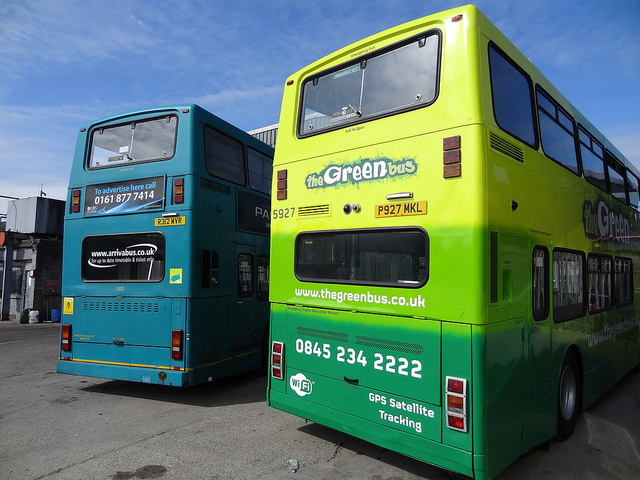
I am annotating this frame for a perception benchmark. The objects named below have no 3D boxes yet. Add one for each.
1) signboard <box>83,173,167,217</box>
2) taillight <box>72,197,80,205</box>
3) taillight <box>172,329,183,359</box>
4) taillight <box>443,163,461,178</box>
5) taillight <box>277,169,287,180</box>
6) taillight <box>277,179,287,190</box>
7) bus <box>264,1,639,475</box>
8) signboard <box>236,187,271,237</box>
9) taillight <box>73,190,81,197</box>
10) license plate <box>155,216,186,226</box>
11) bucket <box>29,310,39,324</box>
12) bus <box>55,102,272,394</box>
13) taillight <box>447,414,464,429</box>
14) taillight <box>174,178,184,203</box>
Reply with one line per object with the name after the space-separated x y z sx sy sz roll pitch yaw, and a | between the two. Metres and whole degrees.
-3.611 -0.847 8.112 1.650 0.738 0.031 0 -2 16 | signboard
-4.817 -0.761 8.511 0.127 0.136 0.069 -2 -2 9 | taillight
-2.542 1.837 7.667 0.200 0.498 0.032 0 -2 11 | taillight
1.510 -0.777 4.931 0.195 0.145 0.031 0 -2 23 | taillight
-0.564 -0.945 6.335 0.127 0.132 0.031 -1 -3 33 | taillight
-0.555 -0.799 6.314 0.132 0.127 0.043 -6 -9 39 | taillight
1.460 0.335 5.591 1.784 2.774 5.069 -4 -8 39 | bus
-1.340 -0.600 9.543 0.061 0.955 1.498 -5 11 -40 | signboard
-4.804 -0.909 8.506 0.117 0.121 0.040 -1 2 19 | taillight
-2.732 -0.338 7.852 0.630 0.168 0.015 0 -2 15 | license plate
-13.728 3.651 20.682 0.363 0.564 0.385 1 -2 0 | bucket
-3.061 0.121 8.539 3.830 5.252 1.983 1 -2 -5 | bus
1.518 1.982 4.789 0.103 0.137 0.176 1 1 -39 | taillight
-2.561 -0.888 7.823 0.197 0.442 0.021 0 -2 17 | taillight
